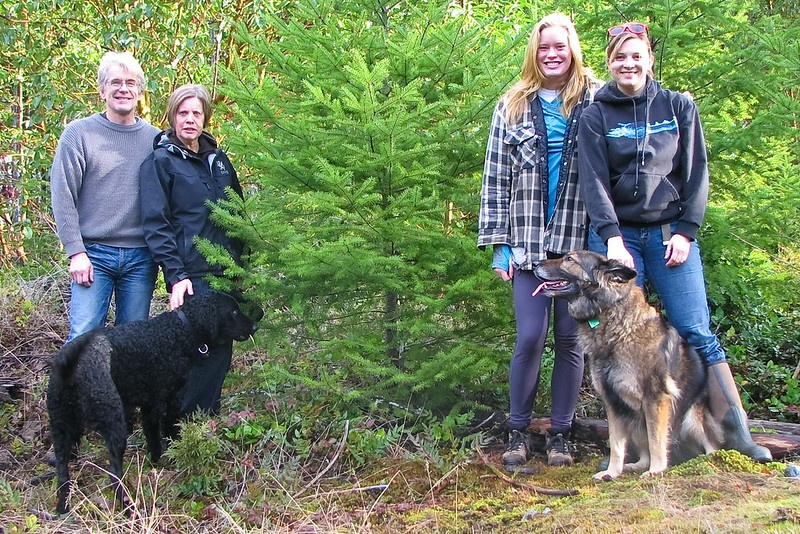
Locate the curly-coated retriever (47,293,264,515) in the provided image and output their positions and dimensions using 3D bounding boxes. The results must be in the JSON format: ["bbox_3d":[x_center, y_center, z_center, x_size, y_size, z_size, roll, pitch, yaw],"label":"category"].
[{"bbox_3d":[-2.174,1.068,5.355,0.487,1.660,1.467,-4,-1,42],"label":"curly-coated retriever"}]

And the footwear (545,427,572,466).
[{"bbox_3d":[1.399,1.552,5.514,0.236,0.227,0.594,1,5,11],"label":"footwear"}]

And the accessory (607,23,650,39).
[{"bbox_3d":[1.841,-1.911,5.028,0.291,0.126,0.132,-3,0,-1],"label":"accessory"}]

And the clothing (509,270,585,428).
[{"bbox_3d":[1.242,0.721,5.370,0.659,1.405,0.339,-4,0,12],"label":"clothing"}]

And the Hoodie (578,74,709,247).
[{"bbox_3d":[1.977,-0.870,5.060,0.999,1.353,0.233,-4,0,-2],"label":"Hoodie"}]
